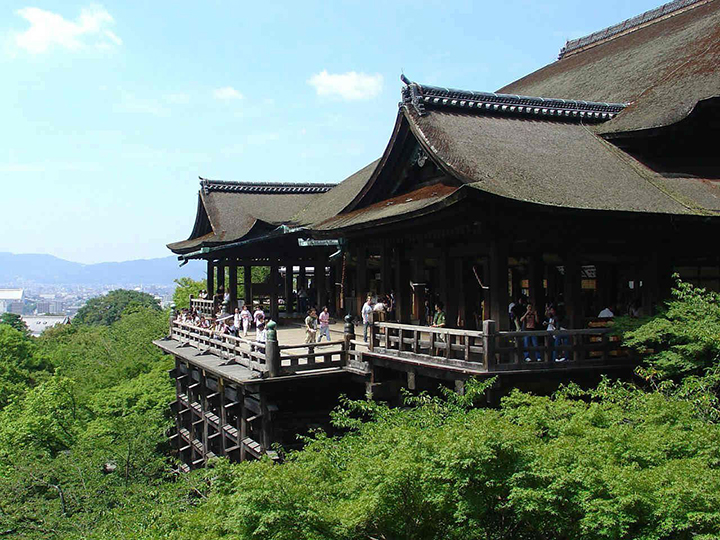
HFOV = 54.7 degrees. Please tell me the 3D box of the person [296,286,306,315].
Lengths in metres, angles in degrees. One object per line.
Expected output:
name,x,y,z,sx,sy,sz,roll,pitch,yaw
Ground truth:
person,-3.099,1.636,37.256,0.400,1.437,1.350,-1,-4,-1
